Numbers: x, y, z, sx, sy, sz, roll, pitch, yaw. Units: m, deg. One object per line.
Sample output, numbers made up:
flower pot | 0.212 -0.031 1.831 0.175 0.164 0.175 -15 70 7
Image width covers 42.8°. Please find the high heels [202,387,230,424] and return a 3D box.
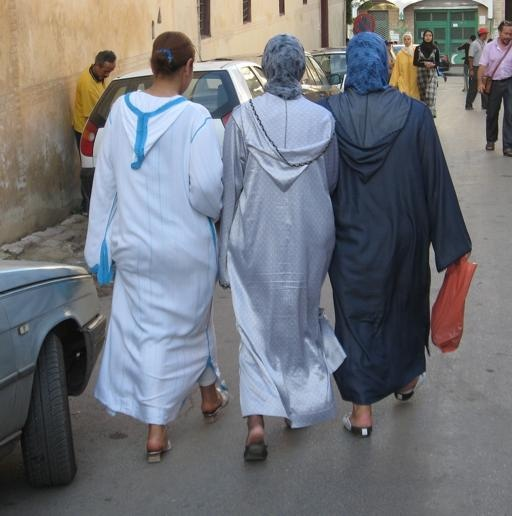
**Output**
high heels | -0.208 0.762 3.551 0.077 0.102 0.236 10 32 22

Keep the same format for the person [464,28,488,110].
person | 6.233 -5.215 18.097 0.564 2.434 0.588 1 -11 22

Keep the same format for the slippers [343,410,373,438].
slippers | 0.511 0.837 3.301 0.054 0.073 0.155 -3 13 -13

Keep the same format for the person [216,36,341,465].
person | 0.128 -0.065 3.107 0.569 1.919 0.417 -5 10 -22

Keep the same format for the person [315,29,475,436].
person | 0.682 -0.156 3.369 0.706 2.008 0.634 -2 22 9

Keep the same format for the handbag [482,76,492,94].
handbag | 4.049 -3.012 11.392 0.089 0.251 0.223 7 15 -4

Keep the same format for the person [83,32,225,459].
person | -0.474 -0.051 3.089 0.632 1.969 0.448 -4 10 -19

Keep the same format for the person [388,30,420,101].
person | 3.071 -3.652 13.256 0.742 1.759 0.463 -10 48 8

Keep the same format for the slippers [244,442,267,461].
slippers | -0.001 0.895 3.056 0.090 0.088 0.079 1 6 2

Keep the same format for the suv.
suv | -0.712 -1.540 7.479 1.127 1.249 2.288 0 18 16
